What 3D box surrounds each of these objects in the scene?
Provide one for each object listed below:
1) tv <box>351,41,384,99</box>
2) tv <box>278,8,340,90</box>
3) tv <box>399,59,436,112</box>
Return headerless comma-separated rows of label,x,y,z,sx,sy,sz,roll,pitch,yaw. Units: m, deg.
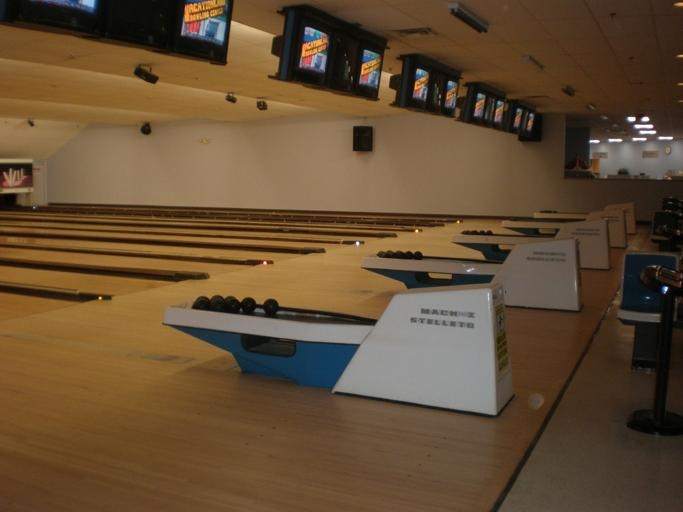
tv,0.288,-2.182,5.138,0.307,0.528,0.568,10,13,22
tv,-0.321,-2.089,4.404,0.401,0.681,0.758,7,6,27
tv,1.038,-2.354,6.057,0.264,0.686,0.756,4,2,28
